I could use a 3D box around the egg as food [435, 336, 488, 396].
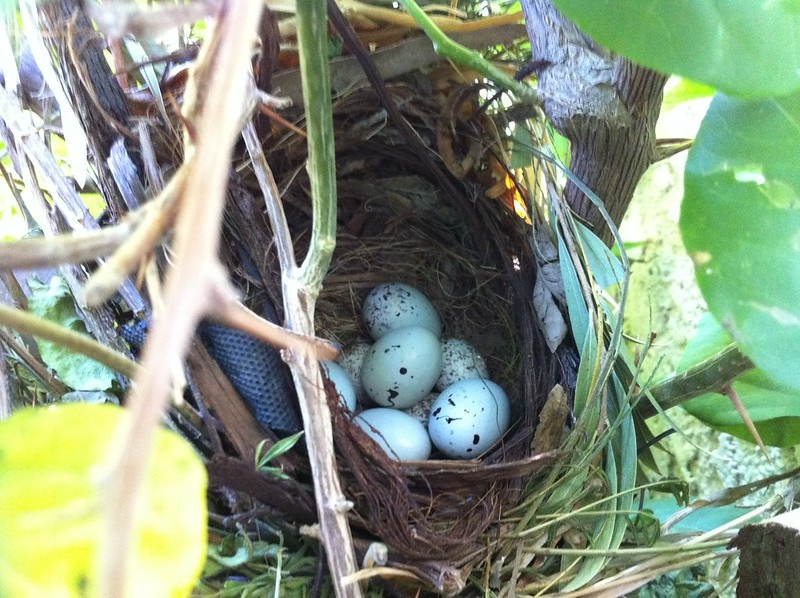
[{"bbox_3d":[0.077,0.094,1.099,0.056,0.061,0.079,6,46,-15],"label":"egg as food"}]

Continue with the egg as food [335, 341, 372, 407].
[{"bbox_3d":[-0.048,0.104,1.096,0.061,0.063,0.080,4,87,10],"label":"egg as food"}]

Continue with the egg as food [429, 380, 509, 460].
[{"bbox_3d":[0.083,0.130,0.985,0.091,0.073,0.078,-20,98,-26],"label":"egg as food"}]

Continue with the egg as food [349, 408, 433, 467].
[{"bbox_3d":[-0.010,0.150,0.945,0.076,0.049,0.051,15,96,-5],"label":"egg as food"}]

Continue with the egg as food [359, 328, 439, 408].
[{"bbox_3d":[0.003,0.092,1.055,0.055,0.057,0.076,28,82,33],"label":"egg as food"}]

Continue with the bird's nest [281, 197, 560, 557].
[{"bbox_3d":[0.022,0.129,0.955,0.270,0.113,0.342,14,56,-38],"label":"bird's nest"}]
